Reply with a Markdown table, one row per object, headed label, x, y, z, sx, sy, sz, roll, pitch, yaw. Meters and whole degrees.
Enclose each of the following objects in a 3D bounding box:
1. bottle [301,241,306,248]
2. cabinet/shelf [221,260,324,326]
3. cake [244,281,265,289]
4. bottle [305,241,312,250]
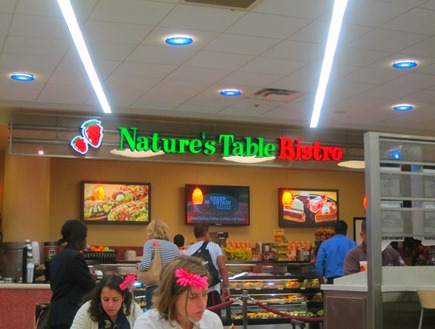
| label | x | y | z | sx | sy | sz | roll | pitch | yaw |
| --- | --- | --- | --- | --- | --- | --- | --- | --- | --- |
| bottle | 2.113 | 1.942 | 10.782 | 0.131 | 0.142 | 0.128 | 2 | -12 | -8 |
| cabinet/shelf | 0.872 | 2.133 | 7.309 | 1.607 | 1.022 | 0.559 | 2 | -14 | -10 |
| cake | 0.617 | 2.028 | 7.471 | 0.355 | 0.119 | 0.117 | -1 | -9 | -5 |
| bottle | 2.244 | 1.978 | 10.870 | 0.218 | 0.224 | 0.223 | -3 | -7 | 16 |
